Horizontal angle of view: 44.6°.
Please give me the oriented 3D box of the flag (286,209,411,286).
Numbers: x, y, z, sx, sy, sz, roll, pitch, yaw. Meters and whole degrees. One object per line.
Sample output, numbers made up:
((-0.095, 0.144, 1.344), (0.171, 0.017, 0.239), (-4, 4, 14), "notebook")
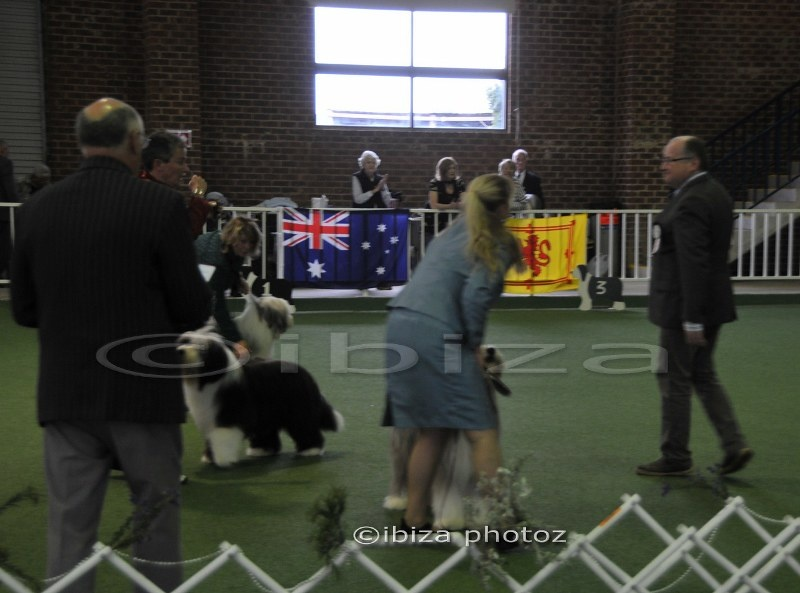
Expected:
((-0.698, -0.625, 11.928), (1.835, 0.960, 0.058), (3, 6, 32), "flag")

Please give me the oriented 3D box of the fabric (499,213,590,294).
((1.779, -0.518, 12.313), (0.165, 1.010, 1.430), (0, 0, -39), "fabric")

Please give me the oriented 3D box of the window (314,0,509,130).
((0.032, -3.705, 15.295), (2.799, 1.260, 0.081), (-1, 6, -8), "window")

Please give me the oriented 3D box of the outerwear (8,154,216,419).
((-1.157, -0.021, 3.894), (0.743, 1.075, 0.270), (-4, 8, -15), "outerwear")

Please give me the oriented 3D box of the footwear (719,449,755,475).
((2.036, 1.006, 5.978), (0.186, 0.202, 0.252), (0, 7, 16), "footwear")

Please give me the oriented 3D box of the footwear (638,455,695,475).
((1.619, 1.052, 6.061), (0.386, 0.115, 0.113), (1, -2, -1), "footwear")

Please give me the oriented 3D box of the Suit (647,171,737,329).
((1.749, -0.275, 5.893), (0.505, 0.949, 0.350), (0, 8, 12), "Suit")
